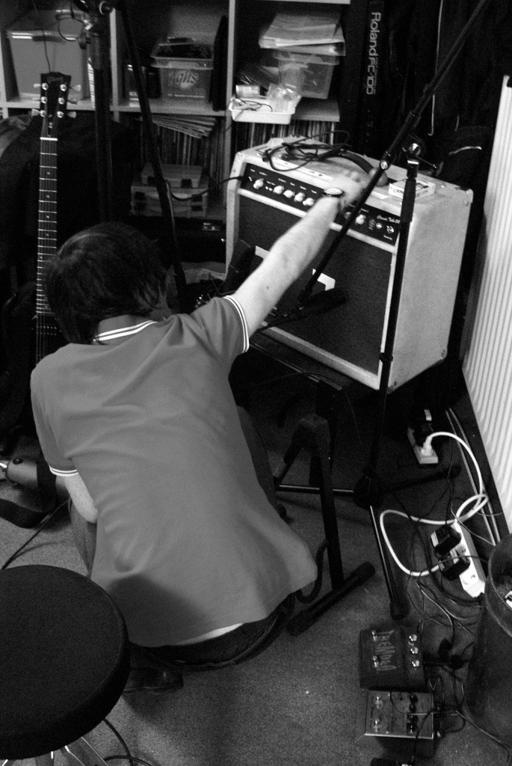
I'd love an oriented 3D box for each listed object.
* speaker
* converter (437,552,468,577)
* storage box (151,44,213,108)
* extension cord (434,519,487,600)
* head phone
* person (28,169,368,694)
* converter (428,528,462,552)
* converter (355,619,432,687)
[{"bbox_3d":[0.220,-0.345,1.750,0.554,0.525,0.319,27,40,31],"label":"speaker"},{"bbox_3d":[0.522,0.478,1.679,0.060,0.040,0.063,-23,22,44],"label":"converter"},{"bbox_3d":[-0.283,-1.179,2.449,0.221,0.198,0.151,0,30,-9],"label":"storage box"},{"bbox_3d":[0.531,0.467,1.662,0.074,0.055,0.187,-31,32,22],"label":"extension cord"},{"bbox_3d":[-0.225,-0.196,1.046,0.160,0.125,0.164,31,5,-4],"label":"head phone"},{"bbox_3d":[-0.060,0.142,1.165,0.597,0.877,0.573,-13,25,-20],"label":"person"},{"bbox_3d":[0.502,0.413,1.702,0.063,0.044,0.066,-32,29,20],"label":"converter"},{"bbox_3d":[0.290,0.591,1.374,0.168,0.059,0.192,-13,15,-11],"label":"converter"}]
